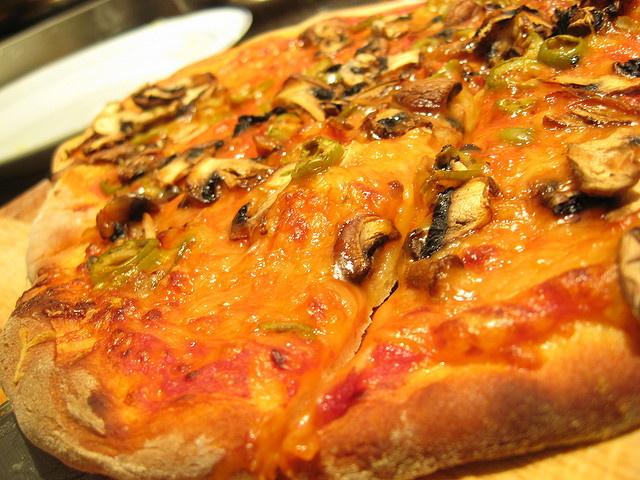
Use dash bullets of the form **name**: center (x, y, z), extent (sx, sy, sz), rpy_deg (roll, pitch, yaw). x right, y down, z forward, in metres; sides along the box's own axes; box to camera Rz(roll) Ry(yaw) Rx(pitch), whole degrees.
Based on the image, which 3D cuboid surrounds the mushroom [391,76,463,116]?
- **mushroom**: center (0.634, -0.865, 3.845), extent (0.309, 0.093, 0.292), rpy_deg (-6, 27, 8)

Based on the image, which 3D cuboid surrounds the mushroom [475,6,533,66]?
- **mushroom**: center (1.195, -1.292, 4.131), extent (0.322, 0.113, 0.417), rpy_deg (27, 78, 46)

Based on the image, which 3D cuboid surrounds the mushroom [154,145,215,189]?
- **mushroom**: center (-0.912, -0.517, 4.363), extent (0.401, 0.103, 0.242), rpy_deg (-39, 34, -10)

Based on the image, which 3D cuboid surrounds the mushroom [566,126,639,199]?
- **mushroom**: center (1.292, -0.364, 2.900), extent (0.332, 0.088, 0.308), rpy_deg (6, 71, 19)

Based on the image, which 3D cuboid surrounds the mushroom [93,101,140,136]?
- **mushroom**: center (-1.493, -0.889, 4.745), extent (0.287, 0.075, 0.261), rpy_deg (0, 57, -3)
